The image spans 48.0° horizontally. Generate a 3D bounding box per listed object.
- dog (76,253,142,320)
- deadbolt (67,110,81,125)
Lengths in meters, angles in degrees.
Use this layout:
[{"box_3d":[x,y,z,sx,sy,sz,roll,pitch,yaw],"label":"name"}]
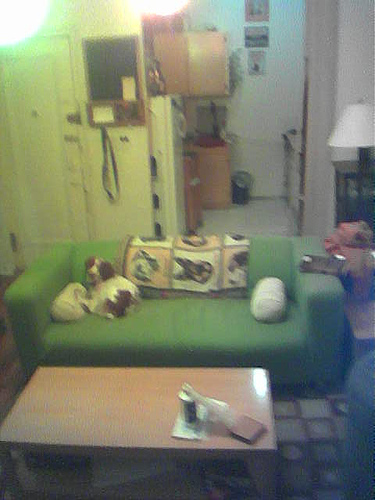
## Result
[{"box_3d":[-0.284,0.142,1.603,0.237,0.250,0.156,-9,0,-25],"label":"dog"},{"box_3d":[-0.472,-0.552,1.746,0.059,0.065,0.015,-4,25,7],"label":"deadbolt"}]
